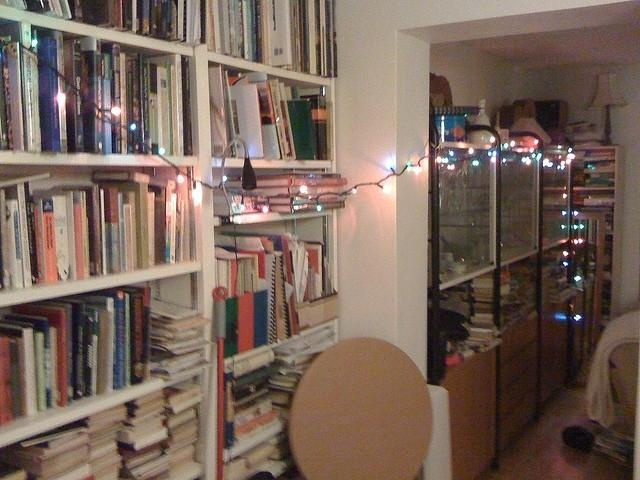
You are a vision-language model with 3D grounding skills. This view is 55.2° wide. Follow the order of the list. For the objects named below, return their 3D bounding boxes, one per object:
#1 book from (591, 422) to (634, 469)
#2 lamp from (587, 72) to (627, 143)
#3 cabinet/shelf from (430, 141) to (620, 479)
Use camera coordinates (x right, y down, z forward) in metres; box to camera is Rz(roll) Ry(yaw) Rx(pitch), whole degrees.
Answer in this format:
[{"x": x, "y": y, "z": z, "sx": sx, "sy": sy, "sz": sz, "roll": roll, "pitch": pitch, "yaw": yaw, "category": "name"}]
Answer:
[{"x": 1.951, "y": 1.380, "z": 4.091, "sx": 0.217, "sy": 0.052, "sz": 0.370, "roll": 13, "pitch": 8, "yaw": 37, "category": "book"}, {"x": 2.528, "y": -1.163, "z": 5.377, "sx": 0.289, "sy": 0.615, "sz": 0.187, "roll": 1, "pitch": 11, "yaw": 23, "category": "lamp"}, {"x": 1.387, "y": 0.495, "z": 4.186, "sx": 0.360, "sy": 1.552, "sz": 2.242, "roll": 0, "pitch": 1, "yaw": 31, "category": "cabinet/shelf"}]
